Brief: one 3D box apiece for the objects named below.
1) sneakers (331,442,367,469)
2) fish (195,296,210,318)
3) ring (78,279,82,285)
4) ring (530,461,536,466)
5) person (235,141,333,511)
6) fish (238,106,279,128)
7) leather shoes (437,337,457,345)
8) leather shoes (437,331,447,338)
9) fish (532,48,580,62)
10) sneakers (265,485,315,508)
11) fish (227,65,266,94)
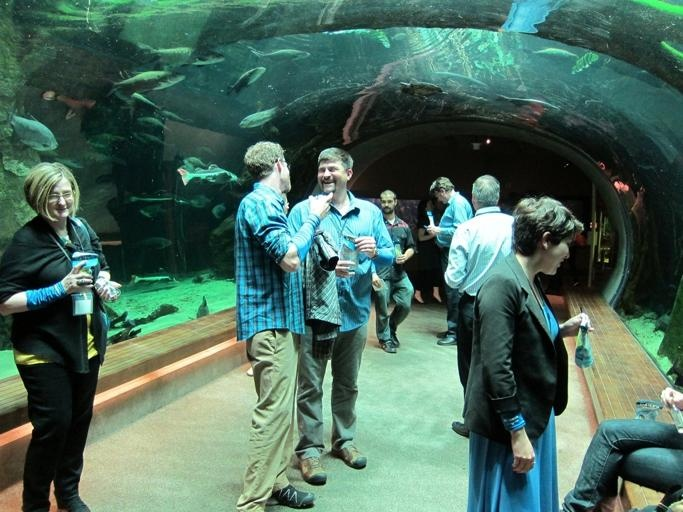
[{"bbox_3d":[0.056,1.747,4.616,0.150,0.128,0.319,1,-1,-42],"label":"sneakers"},{"bbox_3d":[-1.987,0.719,7.600,0.168,0.245,0.443,2,4,-10],"label":"fish"},{"bbox_3d":[-1.763,0.167,3.563,0.036,0.034,0.008,3,1,-34],"label":"ring"},{"bbox_3d":[1.106,1.200,3.057,0.032,0.024,0.031,-1,1,0],"label":"ring"},{"bbox_3d":[-0.472,0.500,3.867,0.650,2.671,0.400,2,5,-11],"label":"person"},{"bbox_3d":[-1.330,-2.235,8.453,0.592,0.366,0.331,2,5,-13],"label":"fish"},{"bbox_3d":[1.600,1.298,8.094,0.254,0.100,0.119,3,-6,-11],"label":"leather shoes"},{"bbox_3d":[1.606,1.260,8.504,0.125,0.039,0.123,-6,2,16],"label":"leather shoes"},{"bbox_3d":[2.456,-2.331,6.035,0.471,0.079,0.137,11,31,16],"label":"fish"},{"bbox_3d":[-0.376,1.863,4.130,0.415,0.167,0.146,-1,-5,9],"label":"sneakers"},{"bbox_3d":[-1.329,-2.496,7.451,0.532,0.353,0.359,6,5,29],"label":"fish"}]
